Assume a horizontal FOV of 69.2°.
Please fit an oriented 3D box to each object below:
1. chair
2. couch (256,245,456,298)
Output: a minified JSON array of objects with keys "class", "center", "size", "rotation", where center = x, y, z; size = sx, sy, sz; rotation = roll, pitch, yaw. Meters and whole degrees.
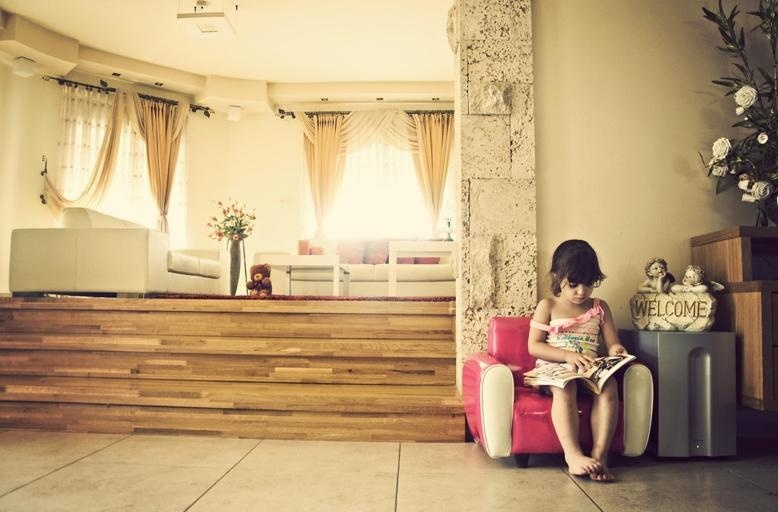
[{"class":"chair","center":[1.094,0.849,3.817],"size":[1.053,0.891,0.849],"rotation":[-1,-4,0]},{"class":"couch","center":[-0.307,0.151,6.695],"size":[2.144,0.634,1.639],"rotation":[0,0,3]}]
